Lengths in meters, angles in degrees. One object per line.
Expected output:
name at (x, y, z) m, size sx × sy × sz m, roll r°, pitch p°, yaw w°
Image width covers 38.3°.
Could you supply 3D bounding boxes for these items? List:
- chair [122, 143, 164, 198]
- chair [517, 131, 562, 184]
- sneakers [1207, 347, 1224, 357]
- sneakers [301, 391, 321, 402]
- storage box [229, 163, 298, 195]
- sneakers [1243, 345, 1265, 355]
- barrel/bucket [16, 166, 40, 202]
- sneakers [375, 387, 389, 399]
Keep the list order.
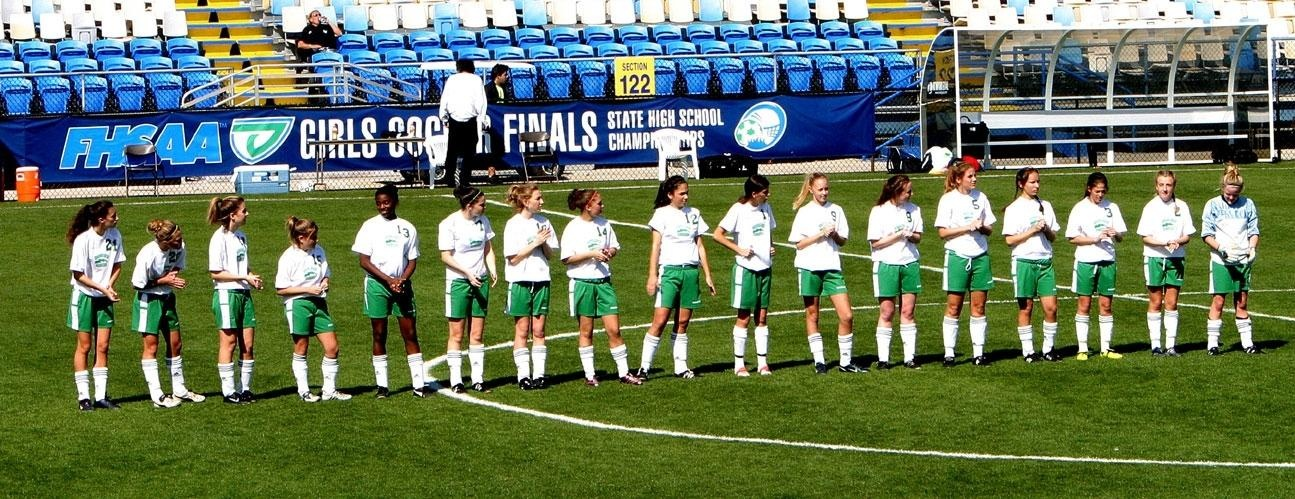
chair at (-19.041, -3.057, 70.256) m, size 1.430 × 1.952 × 0.665 m, roll -5°, pitch 9°, yaw -11°
chair at (-4.134, -3.578, 71.146) m, size 1.590 × 1.913 × 1.063 m, roll -3°, pitch 9°, yaw 1°
sneakers at (17.613, 3.179, 57.960) m, size 0.481 × 0.211 × 0.212 m, roll -6°, pitch 15°, yaw -19°
sneakers at (-10.248, 4.490, 56.744) m, size 0.659 × 0.186 × 0.293 m, roll 1°, pitch 4°, yaw 20°
storage box at (-14.434, -2.612, 69.891) m, size 1.969 × 1.024 × 0.828 m, roll -4°, pitch 8°, yaw -12°
sneakers at (18.844, 3.132, 58.081) m, size 0.564 × 0.159 × 0.256 m, roll -2°, pitch 12°, yaw 12°
barrel/bucket at (-23.103, -2.477, 69.623) m, size 0.901 × 1.235 × 0.614 m, roll -6°, pitch 9°, yaw -15°
sneakers at (-8.090, 4.386, 56.870) m, size 0.300 × 0.168 × 0.464 m, roll 1°, pitch 6°, yaw -1°
